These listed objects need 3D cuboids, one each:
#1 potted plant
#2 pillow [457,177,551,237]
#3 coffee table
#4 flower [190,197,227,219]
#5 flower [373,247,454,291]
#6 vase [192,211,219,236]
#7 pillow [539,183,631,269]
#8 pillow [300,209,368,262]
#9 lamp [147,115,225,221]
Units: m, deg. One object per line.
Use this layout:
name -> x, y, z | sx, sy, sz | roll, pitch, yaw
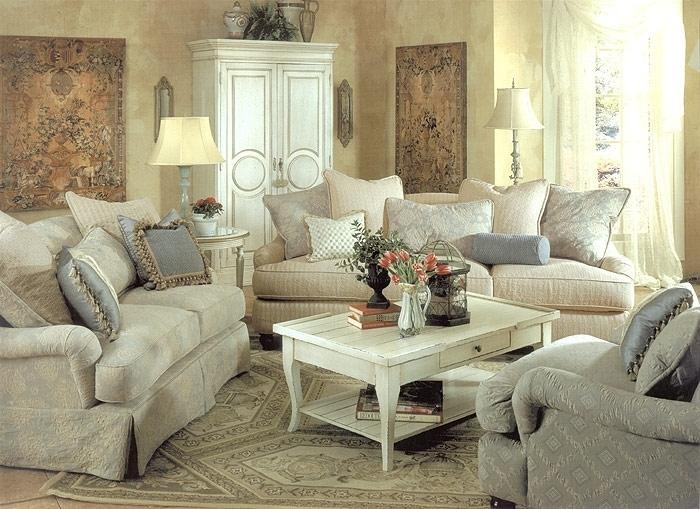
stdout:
potted plant -> 0.145, 0.031, 3.559 | 0.548, 0.603, 0.432 | -4, 9, -22
pillow -> 1.210, -0.350, 4.716 | 0.492, 0.373, 0.175 | 4, -25, 20
coffee table -> 0.215, 0.356, 3.206 | 1.274, 0.528, 0.829 | -8, 10, -43
flower -> -1.148, -0.363, 4.896 | 0.226, 0.152, 0.225 | 1, -1, 3
flower -> 0.353, 0.072, 3.177 | 0.259, 0.127, 0.232 | 2, 3, -25
vase -> -1.175, -0.246, 4.874 | 0.199, 0.163, 0.198 | 0, -4, -1
pillow -> 1.765, -0.254, 4.546 | 0.650, 0.607, 0.206 | 11, -8, 41
pillow -> -0.127, -0.123, 4.426 | 0.382, 0.307, 0.144 | -7, -27, -5
lamp -> -1.204, -0.721, 4.966 | 0.719, 0.928, 0.746 | 0, 3, -2
